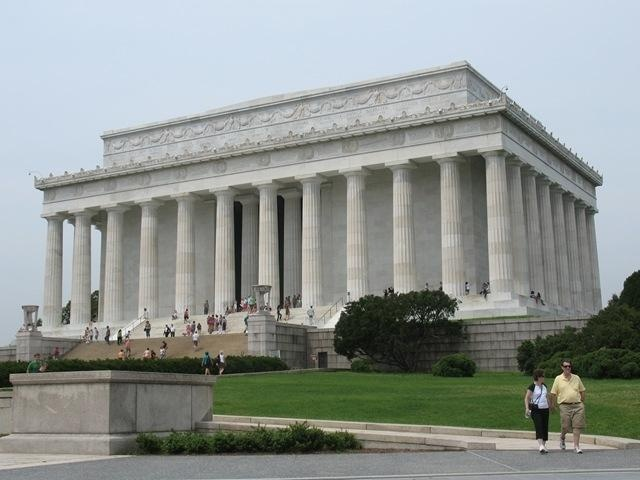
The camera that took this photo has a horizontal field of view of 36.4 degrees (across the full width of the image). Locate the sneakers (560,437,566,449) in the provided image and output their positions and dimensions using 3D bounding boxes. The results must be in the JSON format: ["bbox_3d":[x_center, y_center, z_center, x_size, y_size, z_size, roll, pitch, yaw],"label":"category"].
[{"bbox_3d":[6.801,5.678,27.282,0.115,0.354,0.162,-6,-40,1],"label":"sneakers"}]

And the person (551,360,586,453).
[{"bbox_3d":[6.975,4.677,27.409,0.874,2.617,1.476,-3,-11,5],"label":"person"}]

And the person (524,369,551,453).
[{"bbox_3d":[6.079,4.798,27.260,0.656,2.313,1.227,-5,-11,12],"label":"person"}]

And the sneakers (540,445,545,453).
[{"bbox_3d":[6.046,5.696,26.544,0.154,0.206,0.102,-5,-11,11],"label":"sneakers"}]

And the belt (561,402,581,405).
[{"bbox_3d":[7.018,4.567,27.297,0.477,0.091,0.088,-5,-12,12],"label":"belt"}]

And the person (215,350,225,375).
[{"bbox_3d":[-4.560,5.689,45.199,0.377,1.166,1.340,-1,-11,-6],"label":"person"}]
